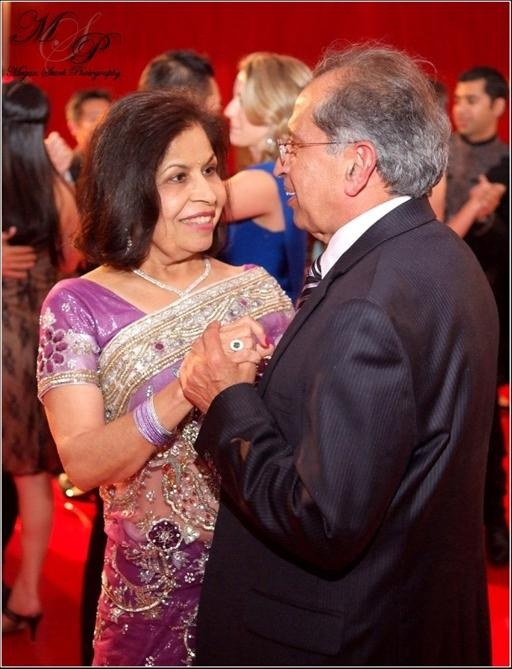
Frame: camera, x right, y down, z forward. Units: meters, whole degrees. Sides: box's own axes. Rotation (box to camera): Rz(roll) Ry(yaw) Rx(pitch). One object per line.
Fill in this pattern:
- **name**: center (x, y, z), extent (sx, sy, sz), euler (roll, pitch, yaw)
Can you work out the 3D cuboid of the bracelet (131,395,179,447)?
- **bracelet**: center (-0.216, 0.178, 1.238), extent (0.082, 0.043, 0.092), euler (9, 71, -5)
